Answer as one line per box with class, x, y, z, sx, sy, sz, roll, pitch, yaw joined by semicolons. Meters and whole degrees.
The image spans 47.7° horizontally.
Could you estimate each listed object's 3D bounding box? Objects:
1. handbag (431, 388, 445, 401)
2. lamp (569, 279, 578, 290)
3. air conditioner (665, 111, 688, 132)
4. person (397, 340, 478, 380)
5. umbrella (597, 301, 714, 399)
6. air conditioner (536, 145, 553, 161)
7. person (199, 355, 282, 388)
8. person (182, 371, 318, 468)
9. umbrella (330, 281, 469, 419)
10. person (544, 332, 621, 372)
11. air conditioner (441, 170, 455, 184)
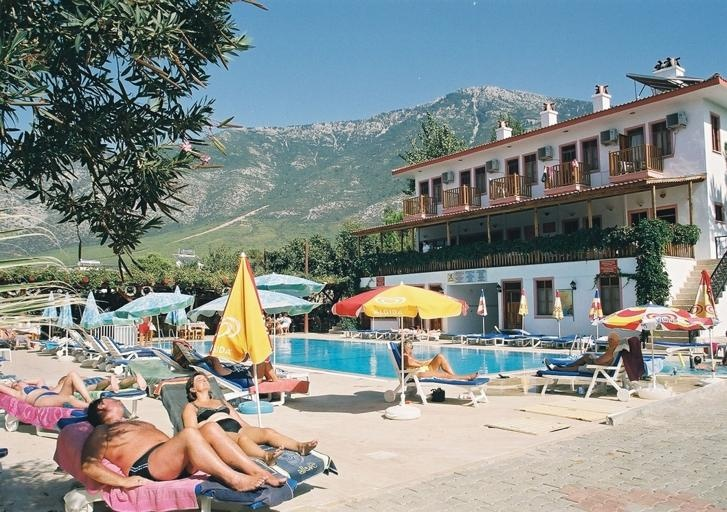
handbag;1.577;2.873;17.111;0.255;0.206;0.251;0;-4;41
lamp;7.860;1.074;30.605;0.336;0.444;0.283;5;-8;-20
air conditioner;11.425;-4.903;29.835;0.675;0.610;0.514;-4;-4;41
person;1.560;2.205;17.336;1.756;0.894;0.817;-1;0;26
umbrella;6.299;1.983;18.238;2.545;2.000;2.461;1;3;19
air conditioner;7.746;-4.232;34.868;0.529;0.862;0.932;6;-9;-4
person;-2.489;2.442;17.459;1.464;0.359;0.971;-1;0;-22
person;-1.798;2.342;11.999;2.334;0.949;0.985;2;3;42
umbrella;0.800;1.939;16.875;2.966;2.482;2.850;6;-11;-37
person;4.827;2.056;17.798;1.779;0.870;0.745;-4;2;37
air conditioner;4.193;-3.764;40.008;0.515;0.797;0.873;0;1;-32
